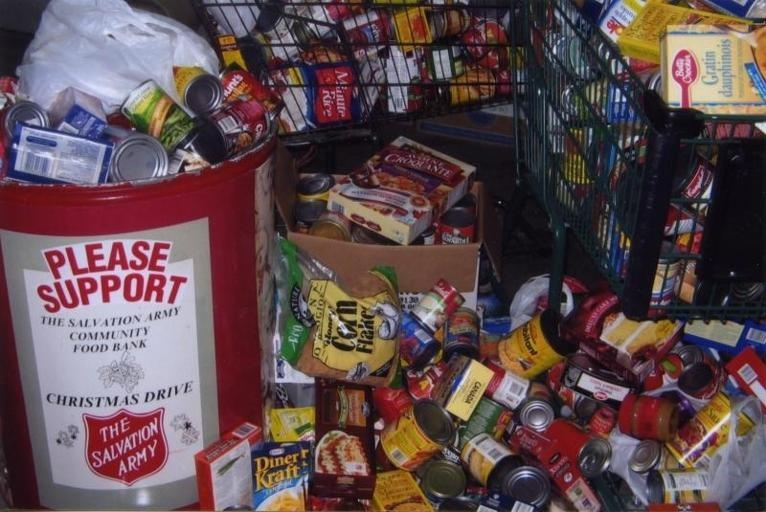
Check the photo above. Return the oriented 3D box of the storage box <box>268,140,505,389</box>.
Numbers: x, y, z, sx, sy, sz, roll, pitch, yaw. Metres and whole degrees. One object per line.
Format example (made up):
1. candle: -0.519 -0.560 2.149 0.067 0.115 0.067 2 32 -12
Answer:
1. storage box: 0.005 0.005 2.263 0.790 0.607 0.642 10 36 1
